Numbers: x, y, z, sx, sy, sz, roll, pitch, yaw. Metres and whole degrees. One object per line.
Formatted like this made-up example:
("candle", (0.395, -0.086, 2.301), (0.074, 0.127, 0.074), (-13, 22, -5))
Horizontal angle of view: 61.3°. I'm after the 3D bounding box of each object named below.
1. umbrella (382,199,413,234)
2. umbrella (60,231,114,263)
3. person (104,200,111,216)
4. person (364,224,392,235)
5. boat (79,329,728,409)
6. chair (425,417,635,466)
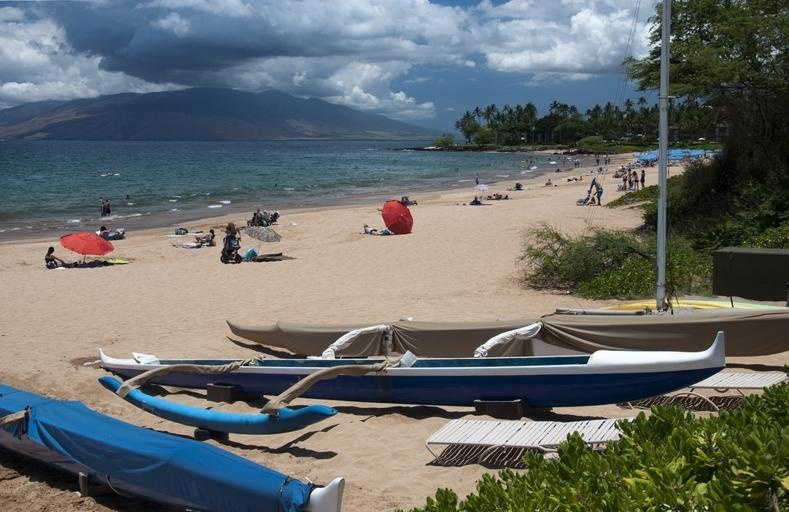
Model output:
("umbrella", (0.067, -1.671, 29.477), (1.220, 1.410, 0.858), (-6, 7, -19))
("umbrella", (-10.849, -0.423, 23.488), (1.573, 0.738, 1.206), (-3, 5, -8))
("person", (-17.195, -2.831, 39.896), (0.235, 0.828, 0.890), (-9, 8, -29))
("person", (-0.845, -1.195, 29.934), (1.070, 0.263, 0.668), (0, 4, 16))
("boat", (0.403, 2.085, 12.083), (15.128, 1.387, 1.695), (-1, -3, 14))
("chair", (1.767, 2.897, 10.306), (2.755, 0.636, 0.907), (-1, 6, 16))
